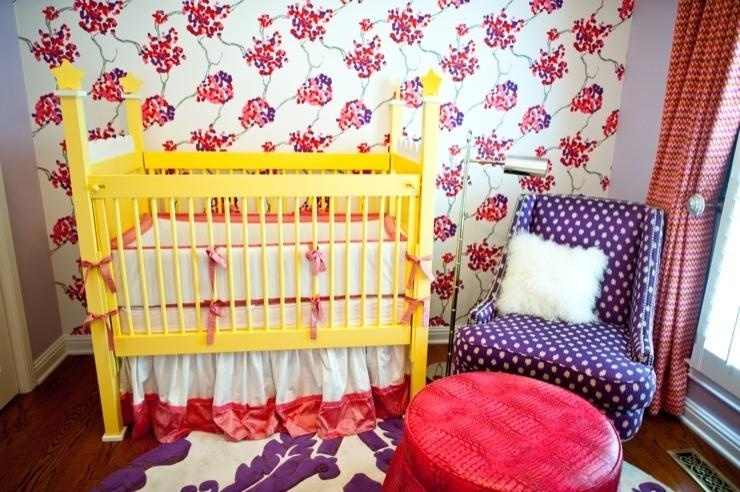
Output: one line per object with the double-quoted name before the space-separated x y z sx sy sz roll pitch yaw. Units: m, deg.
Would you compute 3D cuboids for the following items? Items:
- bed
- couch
"bed" -0.658 0.084 3.380 1.919 2.116 1.220 -3 14 -16
"couch" 1.123 0.416 3.214 1.249 1.394 1.359 6 9 6
